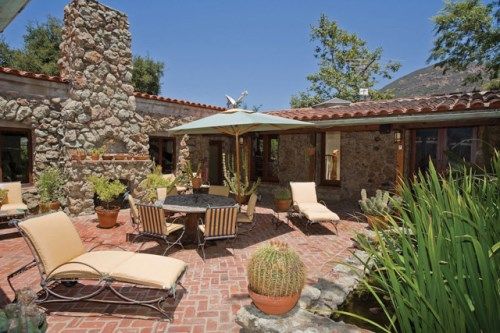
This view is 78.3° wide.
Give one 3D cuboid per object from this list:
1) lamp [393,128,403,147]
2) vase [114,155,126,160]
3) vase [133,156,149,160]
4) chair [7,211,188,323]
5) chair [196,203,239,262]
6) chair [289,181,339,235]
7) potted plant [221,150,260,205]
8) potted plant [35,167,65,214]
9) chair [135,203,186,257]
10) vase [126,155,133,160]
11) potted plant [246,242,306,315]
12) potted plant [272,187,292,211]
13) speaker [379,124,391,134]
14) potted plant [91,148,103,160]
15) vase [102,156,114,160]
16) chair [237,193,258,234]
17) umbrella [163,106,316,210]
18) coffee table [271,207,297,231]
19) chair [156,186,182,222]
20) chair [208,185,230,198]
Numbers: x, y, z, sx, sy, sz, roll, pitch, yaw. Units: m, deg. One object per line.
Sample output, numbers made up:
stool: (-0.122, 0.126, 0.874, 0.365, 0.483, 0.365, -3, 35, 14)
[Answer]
lamp: (4.666, -0.912, 9.528, 0.293, 0.541, 0.296, 0, 4, 38)
vase: (-4.563, -0.336, 10.820, 0.411, 0.175, 0.074, -3, 3, -44)
vase: (-4.039, -0.335, 11.354, 0.179, 0.154, 0.562, 0, 2, 32)
chair: (-2.825, 1.803, 5.997, 3.268, 1.364, 1.403, 4, 9, 9)
chair: (-0.792, 1.511, 7.421, 0.900, 1.121, 0.987, 2, -5, -31)
chair: (1.857, 1.167, 9.114, 0.967, 0.934, 1.723, -4, 17, -15)
potted plant: (-0.267, 0.584, 11.839, 1.317, 1.570, 1.143, 2, 6, 8)
potted plant: (-6.349, 0.701, 9.726, 0.747, 1.413, 0.970, -3, 3, -20)
chair: (-2.133, 1.472, 7.431, 0.887, 1.114, 0.930, 2, 1, 29)
vase: (-4.332, -0.323, 11.057, 0.182, 0.102, 0.167, 1, -4, 0)
potted plant: (0.654, 2.067, 5.575, 1.463, 1.307, 1.306, 0, -30, 9)
potted plant: (1.127, 1.116, 10.299, 0.785, 0.710, 0.727, 0, -8, 4)
speaker: (4.232, -1.180, 9.475, 0.419, 0.250, 0.240, -3, 3, -40)
potted plant: (-5.163, -0.417, 10.376, 0.422, 0.420, 0.271, -4, 4, -43)
vase: (-4.871, -0.311, 10.521, 0.351, 0.140, 0.105, -3, 3, -44)
chair: (-0.230, 1.285, 8.376, 0.831, 1.023, 0.693, 3, 2, -8)
umbrella: (-0.509, -0.370, 9.629, 3.430, 2.720, 4.190, -2, 2, -15)
coffee table: (1.056, 1.661, 9.705, 0.784, 0.411, 0.797, -6, 1, -32)
chair: (-2.386, 1.246, 9.575, 0.807, 0.607, 0.956, 4, -19, -20)
chair: (-0.964, 0.776, 9.563, 0.418, 0.498, 0.440, -1, -14, 12)
